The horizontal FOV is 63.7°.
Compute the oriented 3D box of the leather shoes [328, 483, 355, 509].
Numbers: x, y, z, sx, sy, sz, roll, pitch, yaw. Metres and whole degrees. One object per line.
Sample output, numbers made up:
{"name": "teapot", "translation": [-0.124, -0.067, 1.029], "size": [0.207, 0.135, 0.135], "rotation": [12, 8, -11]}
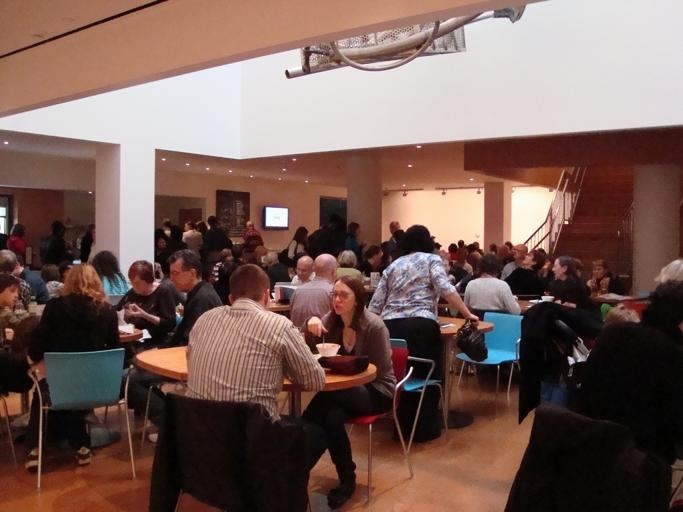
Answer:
{"name": "leather shoes", "translation": [-0.007, 1.610, 3.694], "size": [0.198, 0.123, 0.088], "rotation": [-3, 5, -44]}

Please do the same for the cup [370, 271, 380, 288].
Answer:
{"name": "cup", "translation": [0.518, 0.393, 8.571], "size": [0.188, 0.369, 0.195], "rotation": [1, 5, 0]}

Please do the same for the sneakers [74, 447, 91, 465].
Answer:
{"name": "sneakers", "translation": [-2.005, 1.564, 4.307], "size": [0.102, 0.123, 0.111], "rotation": [3, 0, 35]}

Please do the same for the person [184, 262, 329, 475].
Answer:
{"name": "person", "translation": [-0.480, 0.473, 3.019], "size": [0.712, 0.809, 0.373], "rotation": [2, 4, 17]}
